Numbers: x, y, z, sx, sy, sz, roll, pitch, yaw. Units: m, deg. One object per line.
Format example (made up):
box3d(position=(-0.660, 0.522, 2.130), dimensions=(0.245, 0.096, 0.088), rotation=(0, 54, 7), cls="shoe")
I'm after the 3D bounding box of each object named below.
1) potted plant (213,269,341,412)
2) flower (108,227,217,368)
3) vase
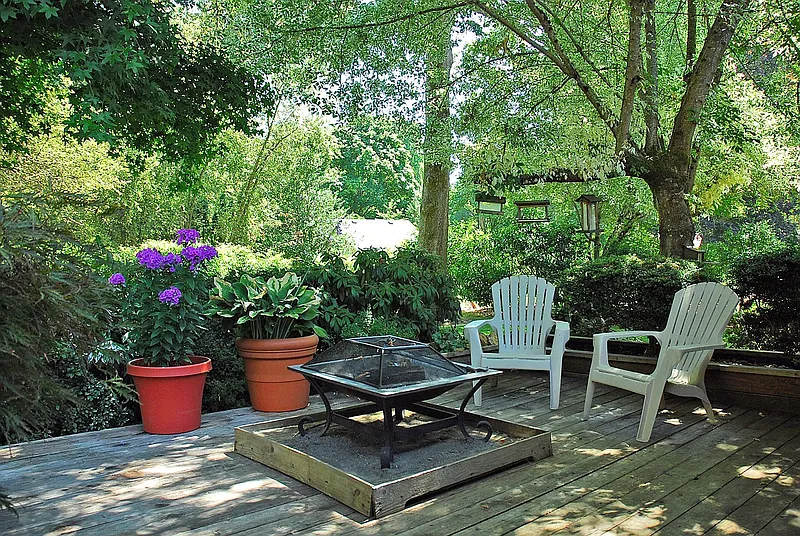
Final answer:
box3d(position=(-1.242, 0.755, 5.361), dimensions=(1.175, 1.210, 1.230), rotation=(-8, -11, 41), cls="potted plant")
box3d(position=(-2.199, 0.324, 4.521), dimensions=(0.620, 0.890, 0.741), rotation=(-15, 9, -6), cls="flower")
box3d(position=(-1.897, 1.053, 4.442), dimensions=(0.635, 0.475, 0.617), rotation=(0, -1, -16), cls="vase")
